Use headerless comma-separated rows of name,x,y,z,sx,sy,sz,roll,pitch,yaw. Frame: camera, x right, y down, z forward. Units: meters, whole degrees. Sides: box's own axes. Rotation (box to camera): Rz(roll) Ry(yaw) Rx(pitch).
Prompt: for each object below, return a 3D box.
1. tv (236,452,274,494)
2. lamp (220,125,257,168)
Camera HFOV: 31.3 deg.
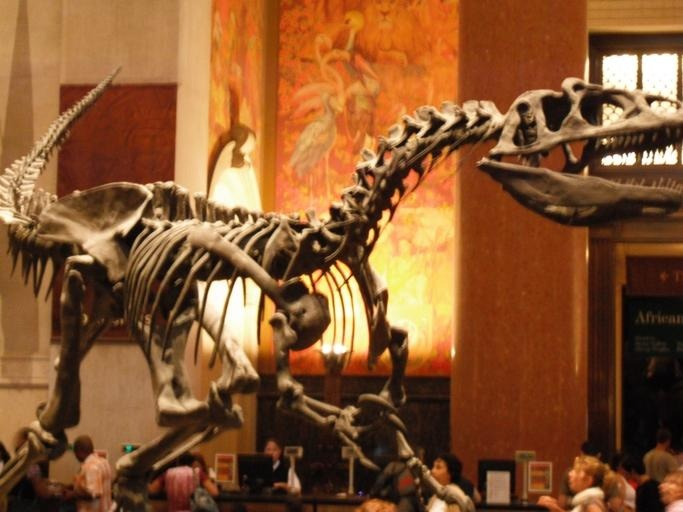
tv,-0.933,2.322,13.011,0.405,0.413,0.156,1,2,1
lamp,-1.366,-1.422,15.927,0.234,0.552,0.391,15,11,39
